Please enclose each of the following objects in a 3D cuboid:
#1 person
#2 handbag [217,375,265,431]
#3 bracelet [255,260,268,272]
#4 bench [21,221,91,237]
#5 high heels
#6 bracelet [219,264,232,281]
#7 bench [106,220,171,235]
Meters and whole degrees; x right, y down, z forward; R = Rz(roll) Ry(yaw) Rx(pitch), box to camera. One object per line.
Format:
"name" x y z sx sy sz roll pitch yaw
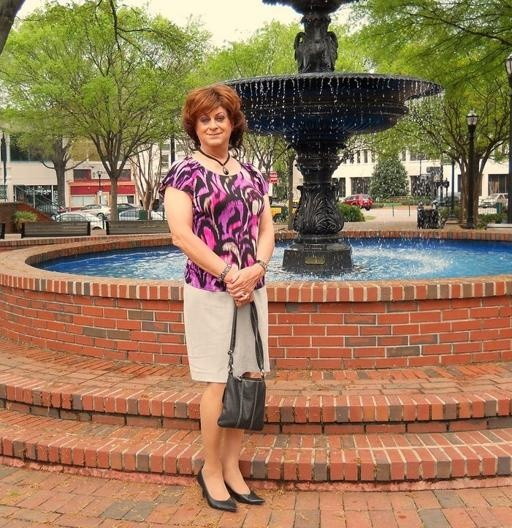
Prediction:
"person" -0.151 0.149 2.739 0.422 1.982 0.541 2 8 28
"handbag" -0.066 0.606 2.533 0.253 0.238 0.097 5 -12 -12
"bracelet" 0.032 0.005 2.684 0.020 0.051 0.051 -36 50 -2
"bench" -6.296 -1.084 18.347 2.446 0.611 0.714 1 -4 -22
"high heels" -0.119 1.035 2.691 0.246 0.090 0.165 5 0 45
"bracelet" -0.131 0.038 2.564 0.019 0.060 0.054 31 3 3
"bench" -3.914 -1.187 18.932 2.453 0.421 0.795 3 8 34
